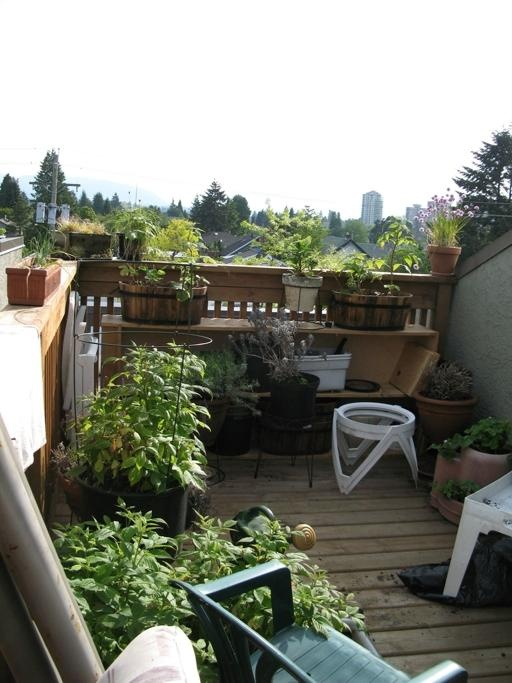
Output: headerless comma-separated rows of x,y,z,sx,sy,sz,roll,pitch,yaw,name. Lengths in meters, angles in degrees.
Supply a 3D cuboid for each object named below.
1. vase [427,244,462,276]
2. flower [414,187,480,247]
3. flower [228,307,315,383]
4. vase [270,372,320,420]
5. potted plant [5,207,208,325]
1.471,-0.650,4.077,0.259,0.207,0.241,1,8,-6,vase
1.535,-1.011,4.305,0.504,0.510,0.478,-5,10,-34,flower
0.087,0.029,3.408,0.556,0.585,0.503,-4,26,-12,flower
0.256,0.350,3.290,0.297,0.307,0.203,-2,12,-30,vase
-0.862,-0.587,3.595,1.143,0.455,0.800,7,13,20,potted plant
